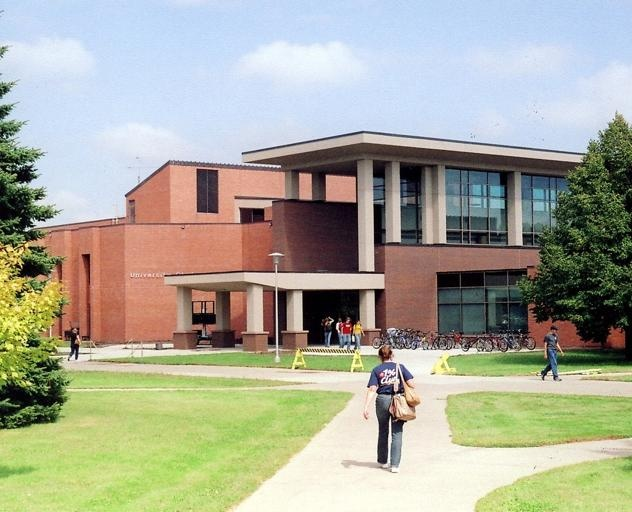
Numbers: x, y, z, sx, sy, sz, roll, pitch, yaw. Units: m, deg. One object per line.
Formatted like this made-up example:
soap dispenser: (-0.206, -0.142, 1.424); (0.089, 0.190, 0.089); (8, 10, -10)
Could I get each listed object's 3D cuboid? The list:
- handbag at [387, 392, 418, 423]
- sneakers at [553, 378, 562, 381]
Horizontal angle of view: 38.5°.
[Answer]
handbag: (1.531, 2.680, 16.029); (0.452, 0.488, 0.427); (-1, -6, 4)
sneakers: (8.174, 4.147, 30.374); (0.123, 0.141, 0.335); (0, -8, -2)
